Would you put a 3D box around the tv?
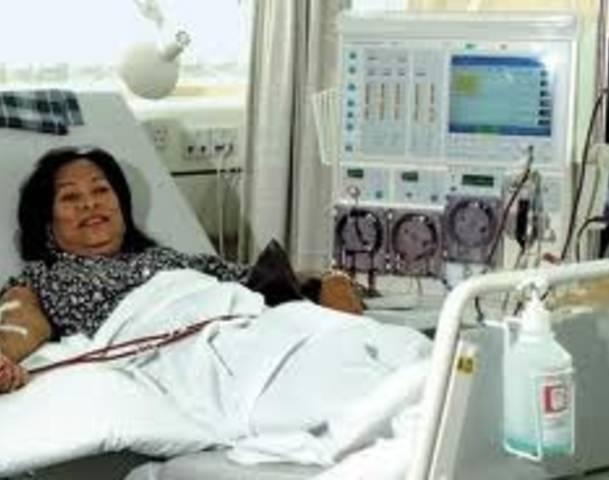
[{"bbox_3d":[0.408,-0.301,1.123,0.211,0.165,0.037,-1,15,1],"label":"tv"}]
